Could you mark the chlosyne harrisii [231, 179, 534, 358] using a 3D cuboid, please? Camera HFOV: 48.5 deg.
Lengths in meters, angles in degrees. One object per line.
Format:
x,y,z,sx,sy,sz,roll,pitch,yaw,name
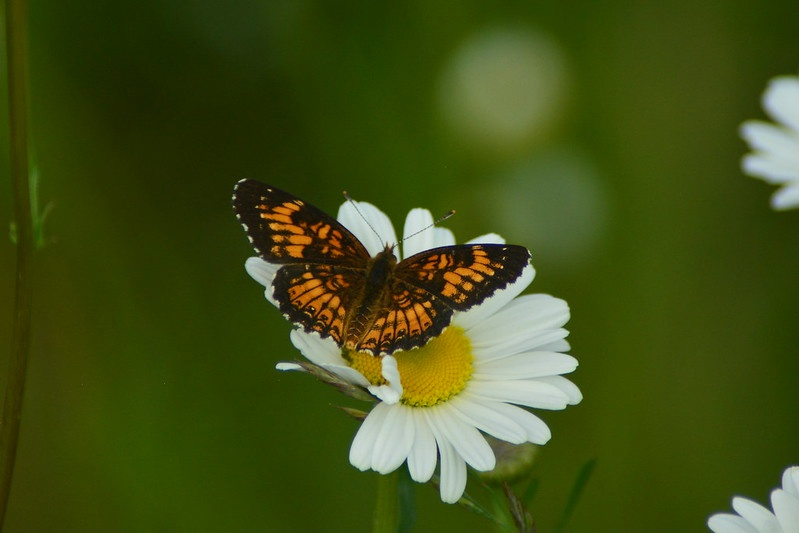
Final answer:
-0.053,0.018,1.485,0.494,0.288,0.091,21,-9,-5,chlosyne harrisii
